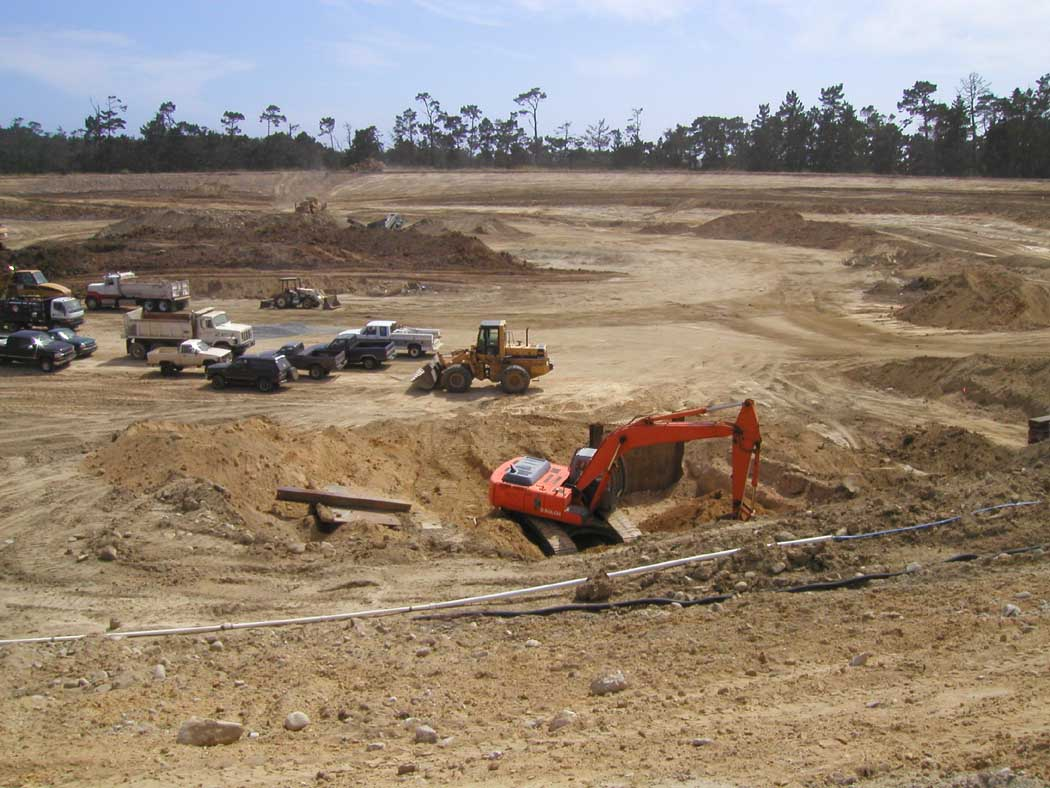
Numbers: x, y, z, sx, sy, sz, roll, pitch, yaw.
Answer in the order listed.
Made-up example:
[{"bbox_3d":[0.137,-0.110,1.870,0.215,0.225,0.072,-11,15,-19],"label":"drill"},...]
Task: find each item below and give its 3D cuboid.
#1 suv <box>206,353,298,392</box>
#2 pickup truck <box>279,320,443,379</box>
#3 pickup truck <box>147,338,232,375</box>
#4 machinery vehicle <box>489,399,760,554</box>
[{"bbox_3d":[-9.367,-0.786,35.357,2.833,0.803,1.266,6,13,-2],"label":"suv"},{"bbox_3d":[-6.024,-1.708,38.990,5.109,0.951,2.491,-2,12,0],"label":"pickup truck"},{"bbox_3d":[-12.170,-1.360,37.137,2.980,0.860,1.285,-1,20,-3],"label":"pickup truck"},{"bbox_3d":[2.294,1.776,24.648,6.348,3.674,3.091,3,8,6],"label":"machinery vehicle"}]
